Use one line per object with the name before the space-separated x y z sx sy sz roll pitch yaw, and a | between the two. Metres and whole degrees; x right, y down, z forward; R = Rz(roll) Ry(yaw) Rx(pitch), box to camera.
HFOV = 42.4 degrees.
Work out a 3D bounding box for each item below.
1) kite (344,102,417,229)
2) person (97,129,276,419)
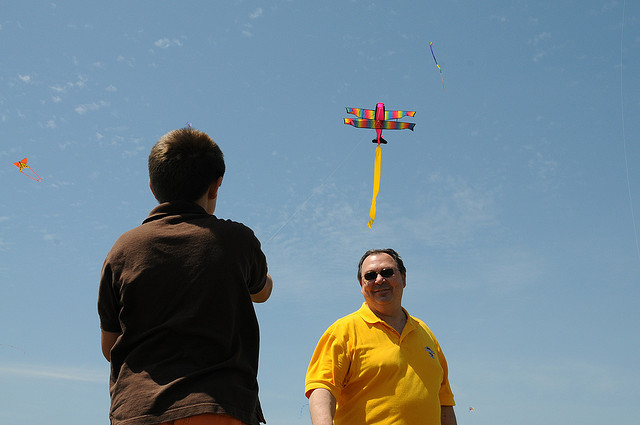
kite | 0.847 -0.936 12.322 1.019 0.355 1.801 4 -57 6
person | -0.898 0.418 5.500 1.098 1.889 0.552 5 -23 -14
